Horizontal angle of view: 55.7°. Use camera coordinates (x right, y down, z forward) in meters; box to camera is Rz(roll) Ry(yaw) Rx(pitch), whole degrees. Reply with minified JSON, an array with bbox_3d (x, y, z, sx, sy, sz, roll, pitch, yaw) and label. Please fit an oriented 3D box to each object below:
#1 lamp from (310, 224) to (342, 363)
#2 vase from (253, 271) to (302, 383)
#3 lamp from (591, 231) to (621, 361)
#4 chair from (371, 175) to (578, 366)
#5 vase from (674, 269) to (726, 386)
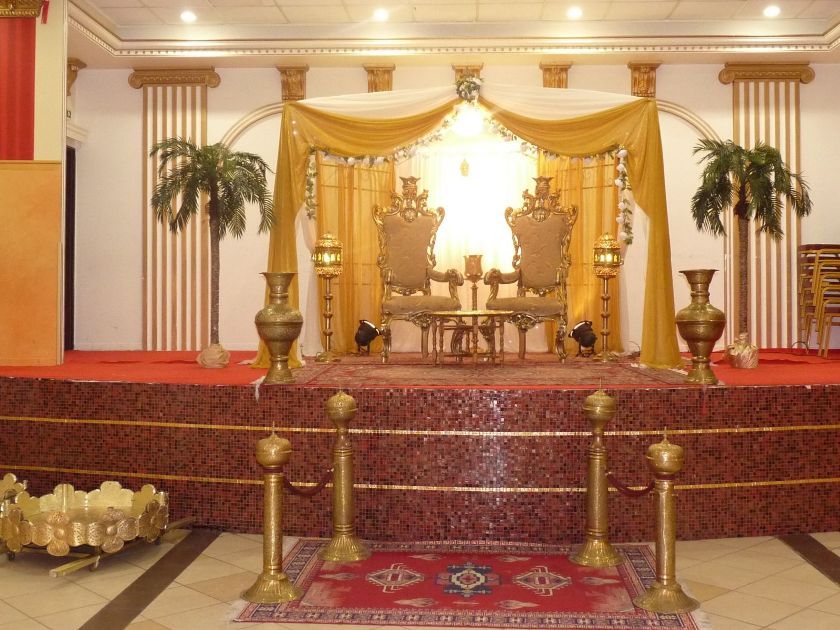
[{"bbox_3d":[-0.959,-0.197,7.935,0.265,1.237,0.856,0,2,-7],"label":"lamp"},{"bbox_3d":[-1.073,0.080,5.940,0.339,0.808,0.497,0,2,-14],"label":"vase"},{"bbox_3d":[1.997,-0.225,8.421,0.281,1.263,1.517,1,2,14],"label":"lamp"},{"bbox_3d":[0.602,-0.462,8.675,2.135,1.933,1.098,0,0,0],"label":"chair"},{"bbox_3d":[2.081,0.072,5.891,0.338,0.832,0.448,1,2,20],"label":"vase"}]
